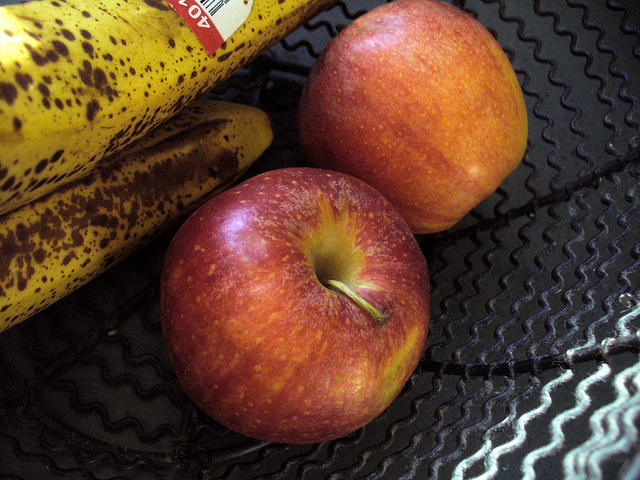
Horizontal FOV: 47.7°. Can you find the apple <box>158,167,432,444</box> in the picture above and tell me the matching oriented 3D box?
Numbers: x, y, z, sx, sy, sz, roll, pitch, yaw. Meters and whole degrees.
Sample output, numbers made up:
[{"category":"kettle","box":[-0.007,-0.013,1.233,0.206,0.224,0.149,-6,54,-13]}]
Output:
[{"category":"apple","box":[-0.041,0.076,0.976,0.294,0.309,0.336,29,58,-12]}]

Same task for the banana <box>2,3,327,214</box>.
[{"category":"banana","box":[-0.198,-0.268,0.944,0.134,0.177,0.524,18,51,39]}]
